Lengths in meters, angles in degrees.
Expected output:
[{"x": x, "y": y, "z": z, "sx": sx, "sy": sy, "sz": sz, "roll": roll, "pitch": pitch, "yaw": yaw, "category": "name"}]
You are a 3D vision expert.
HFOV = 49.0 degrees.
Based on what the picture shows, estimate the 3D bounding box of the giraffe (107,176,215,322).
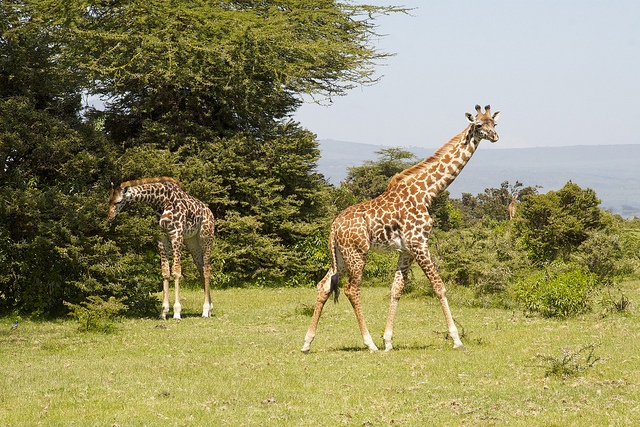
[{"x": -5.033, "y": 1.209, "z": 23.957, "sx": 3.408, "sy": 4.800, "sz": 1.694, "roll": -8, "pitch": 13, "yaw": -35, "category": "giraffe"}]

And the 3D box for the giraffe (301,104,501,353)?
[{"x": 2.334, "y": 0.418, "z": 20.520, "sx": 5.102, "sy": 6.827, "sz": 2.068, "roll": -1, "pitch": 11, "yaw": -3, "category": "giraffe"}]
